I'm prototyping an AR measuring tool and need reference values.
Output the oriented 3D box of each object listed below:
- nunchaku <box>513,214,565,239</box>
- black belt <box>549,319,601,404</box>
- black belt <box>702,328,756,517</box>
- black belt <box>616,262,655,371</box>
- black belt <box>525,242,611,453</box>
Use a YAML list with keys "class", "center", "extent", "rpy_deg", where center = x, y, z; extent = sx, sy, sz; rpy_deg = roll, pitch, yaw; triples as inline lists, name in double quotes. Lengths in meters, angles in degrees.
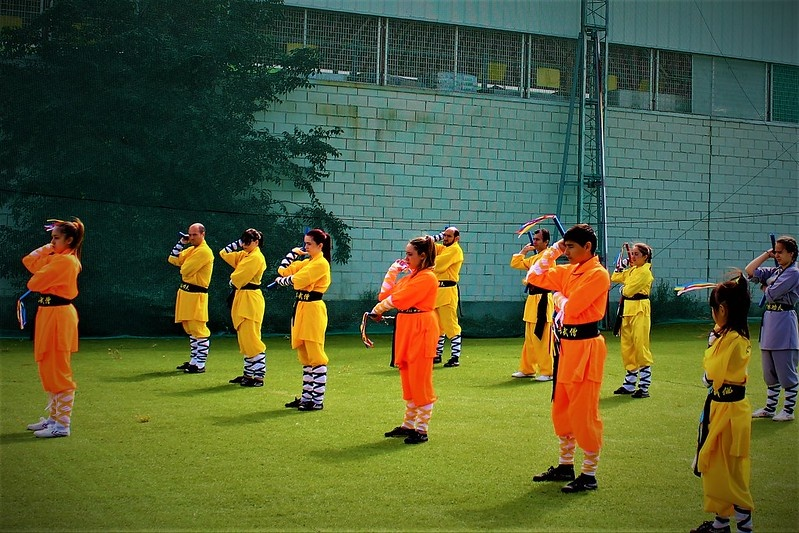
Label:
- class: "nunchaku"
  center: [2.988, -0.886, 19.195]
  extent: [0.818, 0.183, 0.776]
  rpy_deg: [-32, 49, -10]
- class: "black belt"
  center: [2.389, 1.273, 11.980]
  extent: [0.651, 1.085, 0.543]
  rpy_deg: [1, -16, -2]
- class: "black belt"
  center: [4.157, 1.978, 11.419]
  extent: [0.692, 2.291, 0.559]
  rpy_deg: [-2, -3, 4]
- class: "black belt"
  center: [3.997, 0.855, 15.171]
  extent: [0.672, 1.722, 0.598]
  rpy_deg: [1, -2, -7]
- class: "black belt"
  center: [2.325, 1.065, 12.148]
  extent: [1.080, 2.493, 0.914]
  rpy_deg: [1, -1, 3]
